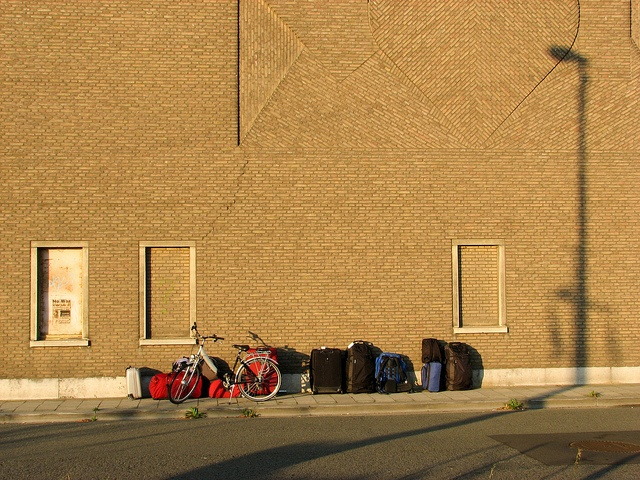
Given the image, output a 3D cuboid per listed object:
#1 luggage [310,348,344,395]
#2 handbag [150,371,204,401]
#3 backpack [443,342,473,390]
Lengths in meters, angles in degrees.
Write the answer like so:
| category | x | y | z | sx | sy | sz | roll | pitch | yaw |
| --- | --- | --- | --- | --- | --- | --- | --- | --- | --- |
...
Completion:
| category | x | y | z | sx | sy | sz | roll | pitch | yaw |
| --- | --- | --- | --- | --- | --- | --- | --- | --- | --- |
| luggage | 0.173 | 3.338 | 28.781 | 0.816 | 1.122 | 0.689 | 0 | -13 | -4 |
| handbag | -3.469 | 3.557 | 28.089 | 1.273 | 0.657 | 0.767 | 0 | -10 | -8 |
| backpack | 3.463 | 3.176 | 28.829 | 0.648 | 1.205 | 0.335 | -2 | -9 | 3 |
